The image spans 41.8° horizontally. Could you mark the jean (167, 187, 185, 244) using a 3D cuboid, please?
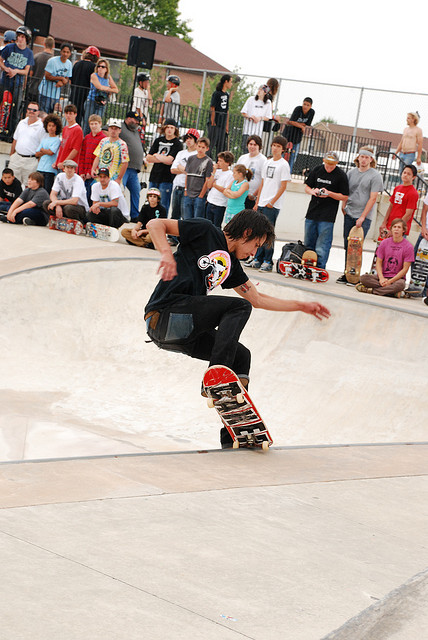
[{"bbox_3d":[-0.640,-2.154,10.283,0.229,0.868,0.721,8,0,-6],"label":"jean"}]

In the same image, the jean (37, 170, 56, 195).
[{"bbox_3d":[-3.305,-2.743,11.048,0.288,0.416,0.226,7,1,-33],"label":"jean"}]

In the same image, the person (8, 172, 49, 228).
[{"bbox_3d":[-3.371,-2.237,10.427,0.634,0.955,0.534,8,0,31],"label":"person"}]

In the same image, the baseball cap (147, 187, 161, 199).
[{"bbox_3d":[-0.998,-2.213,9.658,0.216,0.126,0.283,6,-15,2],"label":"baseball cap"}]

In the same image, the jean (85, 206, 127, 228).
[{"bbox_3d":[-1.943,-1.886,10.209,0.544,0.172,0.385,12,-14,-28],"label":"jean"}]

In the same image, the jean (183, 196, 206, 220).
[{"bbox_3d":[-0.374,-2.010,9.900,0.212,0.394,0.530,7,0,-44],"label":"jean"}]

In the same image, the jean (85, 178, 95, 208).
[{"bbox_3d":[-2.397,-2.467,10.793,0.151,0.553,0.533,8,0,-23],"label":"jean"}]

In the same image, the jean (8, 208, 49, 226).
[{"bbox_3d":[-3.401,-1.946,10.464,0.462,0.148,0.363,-1,-6,-1],"label":"jean"}]

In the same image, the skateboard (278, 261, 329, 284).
[{"bbox_3d":[1.398,-0.745,8.621,1.016,0.253,0.166,16,16,27],"label":"skateboard"}]

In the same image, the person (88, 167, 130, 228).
[{"bbox_3d":[-1.868,-2.226,10.168,0.687,1.055,0.644,7,0,-13],"label":"person"}]

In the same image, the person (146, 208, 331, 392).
[{"bbox_3d":[0.134,-0.049,3.603,1.250,1.237,0.642,11,-17,-24],"label":"person"}]

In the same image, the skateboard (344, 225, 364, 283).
[{"bbox_3d":[2.143,-0.994,8.491,0.245,0.822,0.124,8,14,20],"label":"skateboard"}]

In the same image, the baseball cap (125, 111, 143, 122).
[{"bbox_3d":[-1.491,-4.010,10.926,0.371,0.168,0.224,14,9,-19],"label":"baseball cap"}]

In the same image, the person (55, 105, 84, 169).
[{"bbox_3d":[-2.731,-3.518,10.810,0.485,1.162,0.444,8,1,-18],"label":"person"}]

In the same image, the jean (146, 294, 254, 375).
[{"bbox_3d":[-0.112,0.116,3.881,0.587,0.431,0.832,-22,24,-25],"label":"jean"}]

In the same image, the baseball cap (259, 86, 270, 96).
[{"bbox_3d":[1.243,-5.495,13.342,0.232,0.197,0.165,-1,11,-22],"label":"baseball cap"}]

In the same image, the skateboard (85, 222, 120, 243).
[{"bbox_3d":[-2.032,-1.591,10.082,0.756,0.336,0.146,6,0,27],"label":"skateboard"}]

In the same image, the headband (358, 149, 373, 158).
[{"bbox_3d":[2.312,-2.521,8.448,0.215,0.114,0.209,7,0,7],"label":"headband"}]

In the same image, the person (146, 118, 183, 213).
[{"bbox_3d":[-0.942,-2.915,10.437,0.624,1.745,0.738,8,1,-7],"label":"person"}]

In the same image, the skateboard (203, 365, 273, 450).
[{"bbox_3d":[0.177,0.558,3.493,0.241,0.120,0.884,-4,-40,21],"label":"skateboard"}]

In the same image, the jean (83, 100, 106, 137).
[{"bbox_3d":[-2.656,-4.479,12.481,0.490,0.777,0.373,7,1,-30],"label":"jean"}]

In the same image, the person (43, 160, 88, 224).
[{"bbox_3d":[-2.726,-2.280,10.368,0.861,1.318,0.774,-1,28,-15],"label":"person"}]

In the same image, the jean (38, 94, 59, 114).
[{"bbox_3d":[-3.914,-5.146,13.260,0.443,0.411,0.274,7,1,-20],"label":"jean"}]

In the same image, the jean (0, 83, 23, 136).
[{"bbox_3d":[-4.828,-5.273,13.698,0.330,1.393,0.217,8,31,-2],"label":"jean"}]

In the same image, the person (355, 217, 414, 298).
[{"bbox_3d":[2.494,-0.893,8.004,0.708,1.173,0.591,8,0,13],"label":"person"}]

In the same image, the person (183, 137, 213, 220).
[{"bbox_3d":[-0.261,-2.490,9.733,0.434,1.391,0.698,8,0,-20],"label":"person"}]
